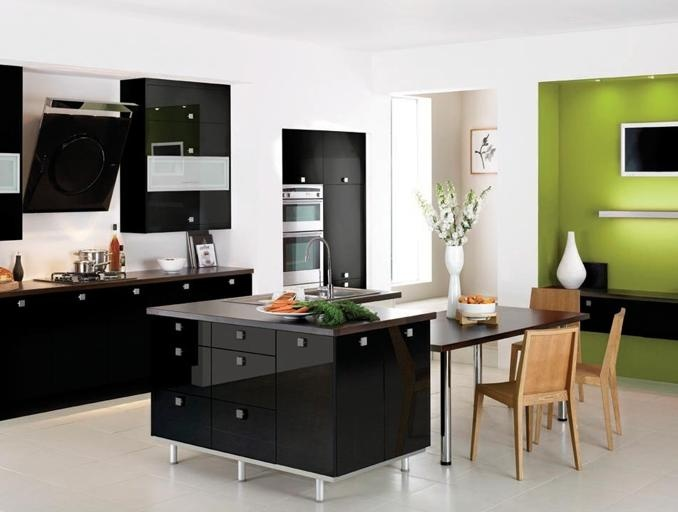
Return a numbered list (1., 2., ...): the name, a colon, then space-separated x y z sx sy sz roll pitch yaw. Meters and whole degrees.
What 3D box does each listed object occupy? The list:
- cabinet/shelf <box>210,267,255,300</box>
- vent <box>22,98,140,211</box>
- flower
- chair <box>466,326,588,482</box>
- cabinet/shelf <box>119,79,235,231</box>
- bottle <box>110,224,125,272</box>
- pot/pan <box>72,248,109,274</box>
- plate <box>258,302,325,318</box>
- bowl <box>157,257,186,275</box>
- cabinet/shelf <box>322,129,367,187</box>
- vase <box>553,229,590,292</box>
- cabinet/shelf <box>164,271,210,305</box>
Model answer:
1. cabinet/shelf: -1.113 0.289 5.551 0.276 0.415 0.419 0 1 38
2. vent: -2.288 -0.873 4.786 0.862 1.021 0.294 4 -15 6
3. flower: 0.863 -0.336 4.231 0.488 0.512 0.454 -1 0 -38
4. chair: 1.263 0.904 3.536 0.693 0.908 0.574 -1 0 -35
5. cabinet/shelf: -1.642 -1.034 5.545 1.100 1.596 0.376 -1 1 -39
6. bottle: -2.172 -0.085 5.216 0.121 0.453 0.344 0 0 -23
7. pot/pan: -2.278 0.051 4.940 0.301 0.208 0.412 0 0 -27
8. plate: -0.332 0.317 3.104 0.160 0.071 0.528 0 0 -39
9. bowl: -1.666 0.096 5.312 0.195 0.097 0.199 -1 -2 0
10. cabinet/shelf: 0.038 -1.229 6.657 0.352 0.677 0.694 5 7 43
11. vase: 2.544 0.038 5.850 0.283 0.632 0.410 0 1 44
12. cabinet/shelf: -1.465 0.320 5.222 0.079 0.262 0.476 0 0 38
